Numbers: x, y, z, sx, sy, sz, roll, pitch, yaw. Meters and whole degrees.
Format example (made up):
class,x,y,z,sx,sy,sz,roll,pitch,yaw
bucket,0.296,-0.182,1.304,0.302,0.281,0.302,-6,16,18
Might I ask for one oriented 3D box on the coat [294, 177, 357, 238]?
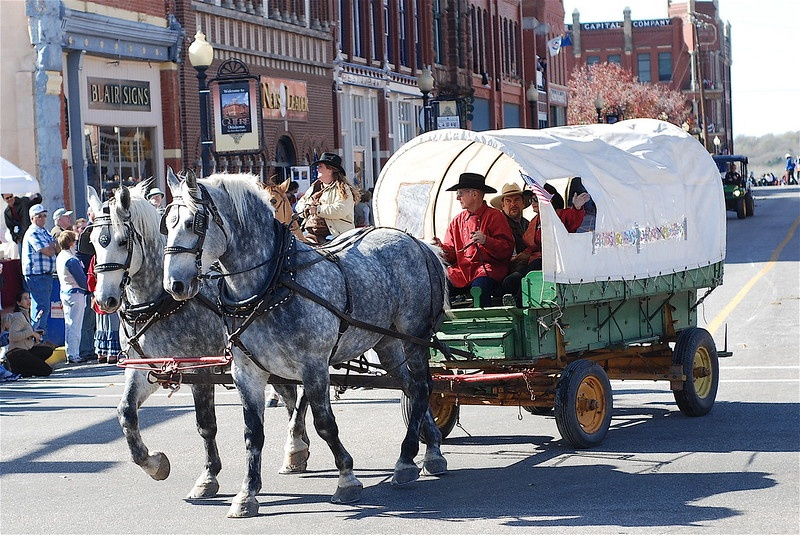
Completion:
class,x,y,z,sx,sy,sz,roll,pitch,yaw
coat,-1.242,-0.908,23.817,1.214,0.950,0.823,-1,1,37

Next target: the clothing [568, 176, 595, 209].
class,x,y,z,sx,sy,sz,roll,pitch,yaw
clothing,2.611,-1.086,21.373,0.126,0.440,0.339,17,0,-7

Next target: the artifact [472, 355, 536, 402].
class,x,y,z,sx,sy,sz,roll,pitch,yaw
artifact,1.457,1.618,20.458,0.871,0.511,0.652,-3,3,-6

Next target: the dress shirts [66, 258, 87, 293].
class,x,y,z,sx,sy,sz,roll,pitch,yaw
dress shirts,-6.048,0.149,27.594,0.200,0.534,0.403,-36,31,-27

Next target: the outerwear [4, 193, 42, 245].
class,x,y,z,sx,sy,sz,roll,pitch,yaw
outerwear,-7.600,-0.979,29.783,0.777,0.994,0.330,-22,-17,4

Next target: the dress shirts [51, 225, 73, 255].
class,x,y,z,sx,sy,sz,roll,pitch,yaw
dress shirts,-6.416,-0.502,28.015,0.565,0.568,0.307,-4,8,-32

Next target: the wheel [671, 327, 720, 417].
class,x,y,z,sx,sy,sz,roll,pitch,yaw
wheel,4.372,1.573,21.958,0.389,1.164,1.086,6,20,43

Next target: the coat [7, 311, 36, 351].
class,x,y,z,sx,sy,sz,roll,pitch,yaw
coat,-6.834,1.196,27.007,0.606,0.774,0.807,-6,6,-17

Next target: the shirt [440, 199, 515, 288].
class,x,y,z,sx,sy,sz,roll,pitch,yaw
shirt,1.147,-0.329,21.820,1.399,1.266,0.913,-8,-8,44

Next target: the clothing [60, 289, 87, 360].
class,x,y,z,sx,sy,sz,roll,pitch,yaw
clothing,-6.223,1.085,28.129,0.431,1.421,0.548,-7,7,-30

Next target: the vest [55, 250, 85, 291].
class,x,y,z,sx,sy,sz,roll,pitch,yaw
vest,-6.180,0.084,27.924,0.556,0.902,0.780,-4,14,-20

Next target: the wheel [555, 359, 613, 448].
class,x,y,z,sx,sy,sz,roll,pitch,yaw
wheel,2.527,1.914,20.532,0.388,1.253,0.987,0,4,38

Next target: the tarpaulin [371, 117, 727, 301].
class,x,y,z,sx,sy,sz,roll,pitch,yaw
tarpaulin,2.822,-1.057,22.508,3.935,1.835,4.585,11,15,25

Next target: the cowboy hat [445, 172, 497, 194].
class,x,y,z,sx,sy,sz,roll,pitch,yaw
cowboy hat,1.114,-1.227,21.761,0.462,0.157,0.377,7,-10,-20

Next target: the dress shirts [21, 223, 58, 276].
class,x,y,z,sx,sy,sz,roll,pitch,yaw
dress shirts,-6.984,-0.285,28.005,0.819,1.212,1.241,-3,5,-10

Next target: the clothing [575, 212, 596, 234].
class,x,y,z,sx,sy,sz,roll,pitch,yaw
clothing,2.681,-0.629,21.060,0.086,0.244,0.334,19,-18,-14

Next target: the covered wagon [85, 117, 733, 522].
class,x,y,z,sx,sy,sz,roll,pitch,yaw
covered wagon,0.707,0.510,21.171,8.948,4.502,3.380,-5,1,-32
